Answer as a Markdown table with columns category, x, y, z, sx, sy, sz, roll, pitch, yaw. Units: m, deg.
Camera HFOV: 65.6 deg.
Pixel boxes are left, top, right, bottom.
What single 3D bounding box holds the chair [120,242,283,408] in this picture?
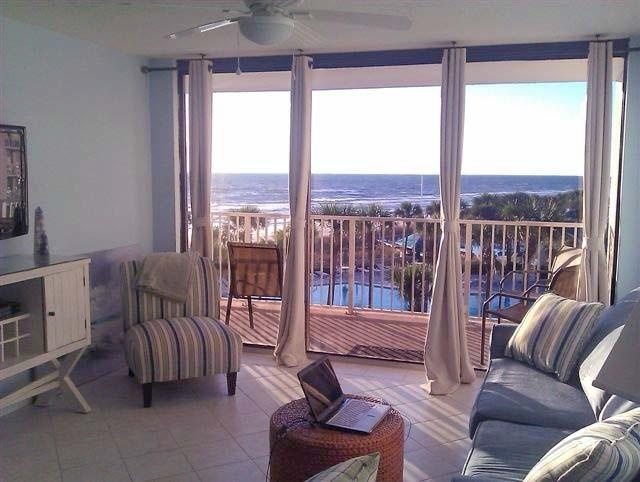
| category | x | y | z | sx | sy | sz | roll | pitch | yaw |
| --- | --- | --- | --- | --- | --- | --- | --- | --- | --- |
| chair | -1.142 | 0.674 | 4.078 | 0.859 | 1.075 | 0.781 | -3 | 9 | -23 |

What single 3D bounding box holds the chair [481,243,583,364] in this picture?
| category | x | y | z | sx | sy | sz | roll | pitch | yaw |
| --- | --- | --- | --- | --- | --- | --- | --- | --- | --- |
| chair | 1.864 | 0.708 | 4.458 | 0.908 | 1.117 | 0.883 | 3 | 6 | 15 |

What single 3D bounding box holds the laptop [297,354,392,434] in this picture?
| category | x | y | z | sx | sy | sz | roll | pitch | yaw |
| --- | --- | --- | --- | --- | --- | --- | --- | --- | --- |
| laptop | 0.126 | 0.876 | 2.759 | 0.357 | 0.256 | 0.400 | 1 | 5 | 21 |

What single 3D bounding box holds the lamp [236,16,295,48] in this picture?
| category | x | y | z | sx | sy | sz | roll | pitch | yaw |
| --- | --- | --- | --- | --- | --- | --- | --- | --- | --- |
| lamp | -0.289 | -1.139 | 2.658 | 0.280 | 0.108 | 0.121 | -1 | 8 | -12 |
